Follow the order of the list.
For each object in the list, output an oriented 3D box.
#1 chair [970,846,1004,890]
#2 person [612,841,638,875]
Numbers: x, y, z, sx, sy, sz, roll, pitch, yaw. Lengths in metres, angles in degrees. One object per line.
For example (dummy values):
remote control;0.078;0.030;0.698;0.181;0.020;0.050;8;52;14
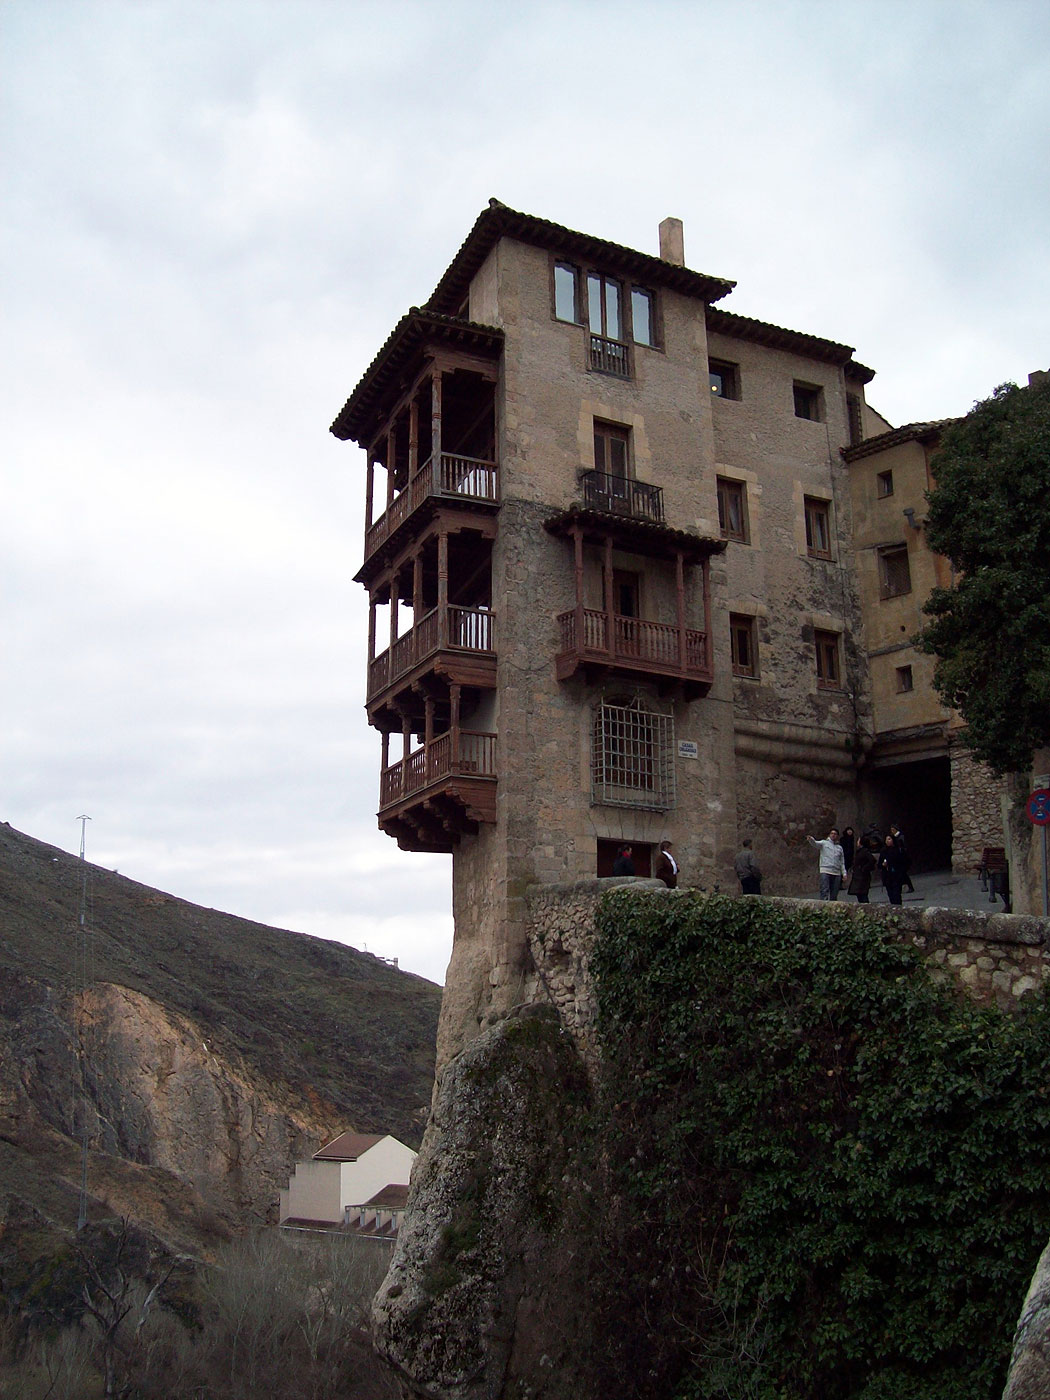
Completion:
chair;7.746;2.754;23.086;0.667;0.658;0.676;-3;-15;9
person;1.481;2.360;20.937;0.296;0.791;0.335;6;-18;-23
